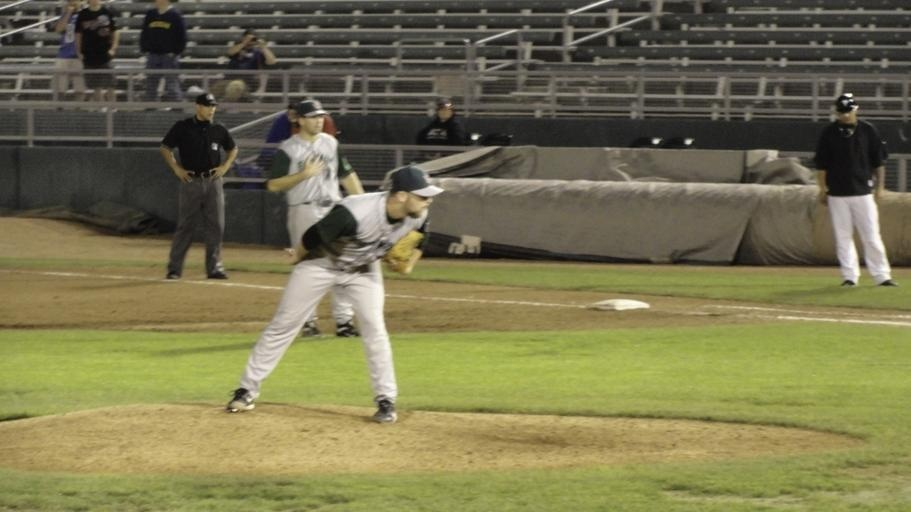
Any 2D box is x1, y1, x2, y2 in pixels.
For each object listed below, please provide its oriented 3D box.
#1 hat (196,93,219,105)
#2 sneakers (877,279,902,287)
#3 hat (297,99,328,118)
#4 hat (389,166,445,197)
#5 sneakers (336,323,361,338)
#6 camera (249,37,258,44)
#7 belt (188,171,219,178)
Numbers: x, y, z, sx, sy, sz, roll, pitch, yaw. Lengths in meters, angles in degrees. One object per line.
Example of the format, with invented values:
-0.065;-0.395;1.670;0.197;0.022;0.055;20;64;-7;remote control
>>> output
-4.945;-3.120;31.715;0.516;0.173;0.366;7;10;38;hat
8.531;0.528;31.474;0.505;0.119;0.137;-2;11;13;sneakers
-2.615;-2.600;28.164;0.497;0.189;0.582;-5;1;-38;hat
-0.646;-1.216;25.781;0.976;0.257;0.470;3;12;-1;hat
-1.912;1.346;29.000;0.569;0.191;0.235;-1;5;4;sneakers
-4.838;-5.314;39.204;0.060;0.112;0.170;5;4;31;camera
-4.946;-1.650;31.737;0.489;0.148;0.067;0;4;-14;belt
